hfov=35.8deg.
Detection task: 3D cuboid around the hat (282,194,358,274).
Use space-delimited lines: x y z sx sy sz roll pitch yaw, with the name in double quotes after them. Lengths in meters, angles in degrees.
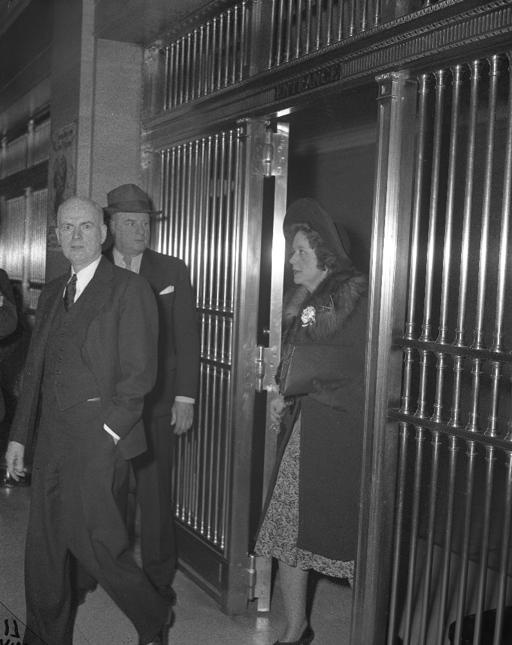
0.222 -0.322 2.744 0.090 0.272 0.194 -33 20 -28 "hat"
